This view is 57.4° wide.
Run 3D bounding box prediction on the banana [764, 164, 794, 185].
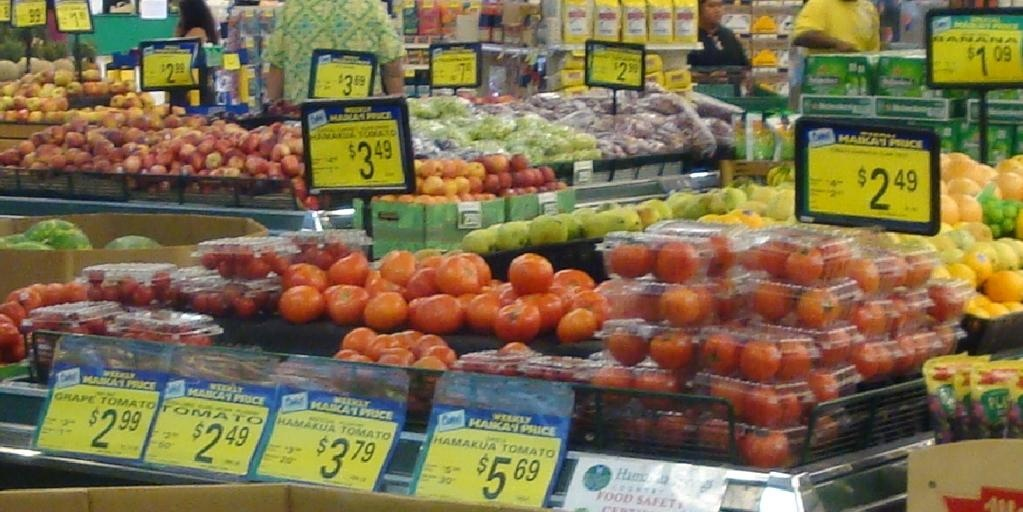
[{"bbox_3d":[1.770,-0.529,6.189,0.135,0.124,0.376,3,11,9],"label":"banana"}]
